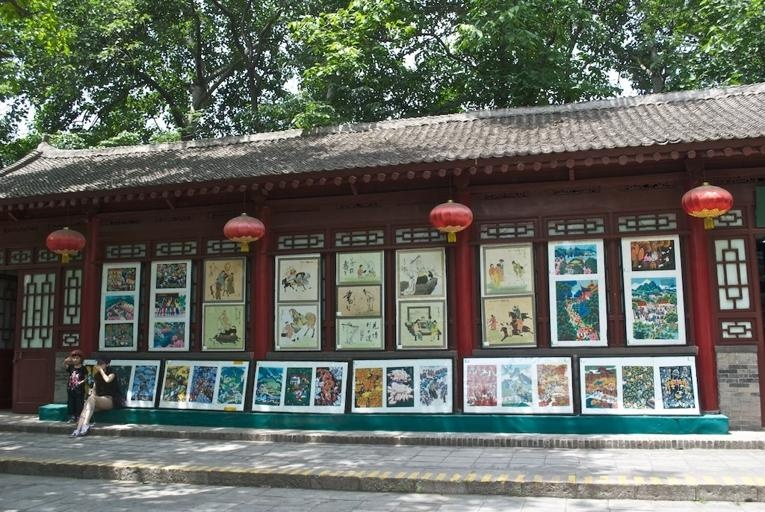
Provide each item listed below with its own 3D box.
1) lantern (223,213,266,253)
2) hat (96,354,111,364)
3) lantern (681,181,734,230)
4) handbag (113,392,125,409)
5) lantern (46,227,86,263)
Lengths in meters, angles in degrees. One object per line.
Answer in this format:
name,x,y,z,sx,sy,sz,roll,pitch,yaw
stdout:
lantern,1.081,-0.542,9.504,0.680,0.593,0.642,8,-14,-34
hat,-4.776,1.791,10.357,0.195,0.089,0.134,12,5,12
lantern,4.746,-0.734,9.012,0.792,0.691,0.739,0,-10,-1
handbag,-4.619,2.565,10.627,0.203,0.239,0.116,0,0,-11
lantern,-2.341,-0.384,10.192,0.673,0.573,0.671,2,-5,-40
